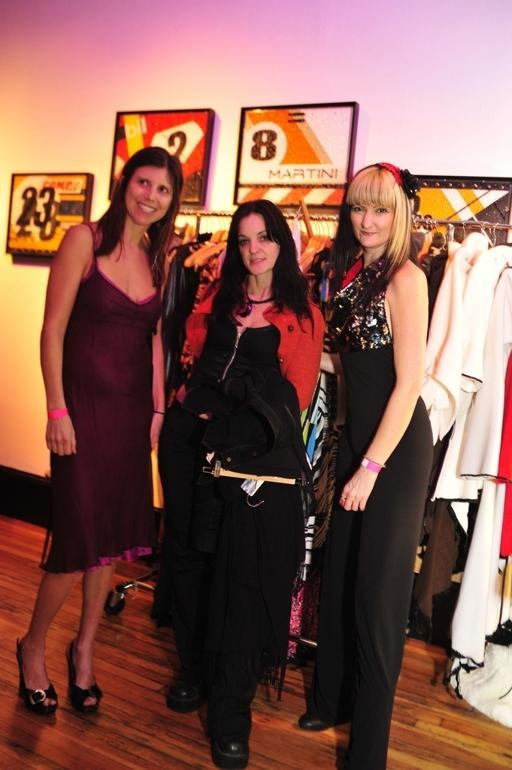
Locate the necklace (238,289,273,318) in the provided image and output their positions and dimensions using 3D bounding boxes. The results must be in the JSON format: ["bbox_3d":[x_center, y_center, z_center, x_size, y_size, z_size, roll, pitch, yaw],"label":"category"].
[{"bbox_3d":[-0.009,-0.237,1.686,0.054,0.100,0.017,15,-33,20],"label":"necklace"}]

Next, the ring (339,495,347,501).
[{"bbox_3d":[0.220,0.279,1.401,0.007,0.019,0.013,8,-8,-13],"label":"ring"}]

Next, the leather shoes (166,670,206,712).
[{"bbox_3d":[-0.216,0.909,1.669,0.061,0.063,0.124,3,-11,5],"label":"leather shoes"}]

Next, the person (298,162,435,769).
[{"bbox_3d":[0.315,0.227,1.528,0.285,1.526,0.397,6,0,-6],"label":"person"}]
